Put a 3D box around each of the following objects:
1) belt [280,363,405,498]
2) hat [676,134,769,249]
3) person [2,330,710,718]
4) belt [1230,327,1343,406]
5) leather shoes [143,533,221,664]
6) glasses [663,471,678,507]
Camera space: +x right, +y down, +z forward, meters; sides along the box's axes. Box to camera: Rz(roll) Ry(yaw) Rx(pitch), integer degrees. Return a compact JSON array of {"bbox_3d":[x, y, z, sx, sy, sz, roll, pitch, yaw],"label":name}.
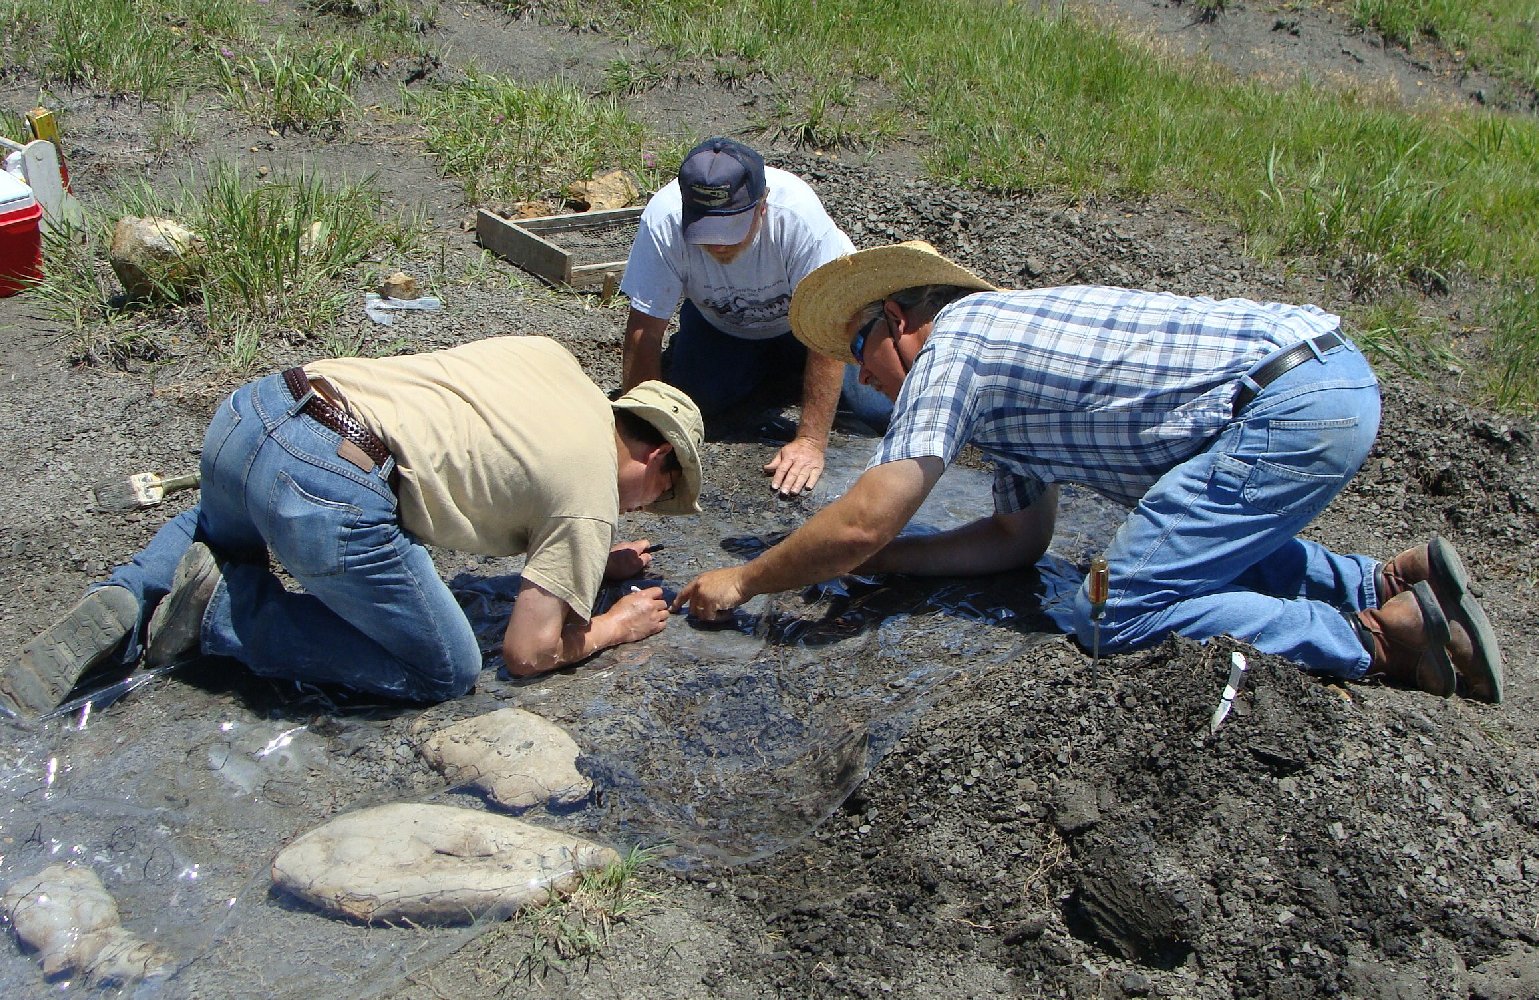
[{"bbox_3d":[-1.696,-0.302,5.531,0.505,0.132,0.385,41,-10,-19],"label":"belt"},{"bbox_3d":[-0.251,-1.570,6.956,0.460,0.352,0.618,-2,52,4],"label":"hat"},{"bbox_3d":[-1.656,0.239,5.797,2.750,1.061,1.329,-11,55,-18],"label":"person"},{"bbox_3d":[2.108,-0.529,5.696,0.506,0.301,0.123,-18,51,-36],"label":"belt"},{"bbox_3d":[-2.385,0.421,5.656,0.279,0.614,0.216,-8,52,-30],"label":"leather shoes"},{"bbox_3d":[-0.422,-0.059,5.965,0.066,0.110,0.084,4,12,-10],"label":"glasses"}]
